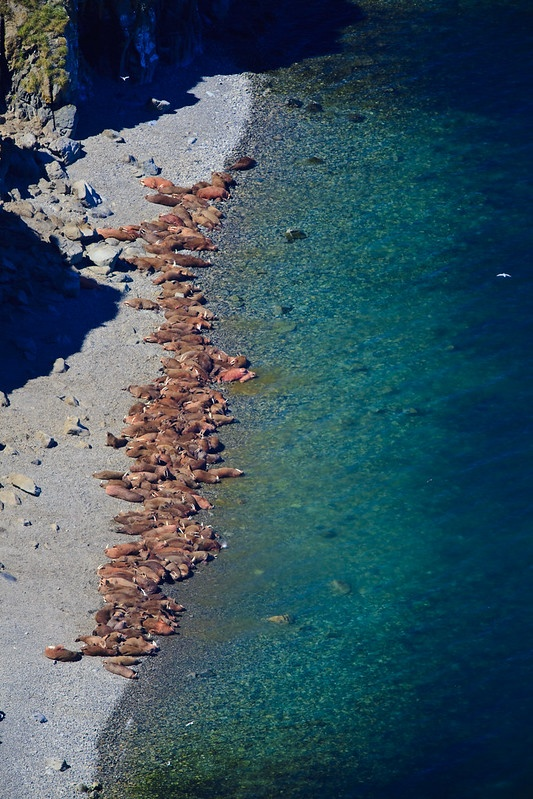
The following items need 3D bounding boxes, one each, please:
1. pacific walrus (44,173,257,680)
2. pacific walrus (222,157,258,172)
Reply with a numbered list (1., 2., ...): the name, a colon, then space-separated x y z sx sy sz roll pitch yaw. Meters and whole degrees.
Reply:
1. pacific walrus: -2.460 0.252 34.177 3.506 1.065 12.719 22 41 -14
2. pacific walrus: -0.824 -7.287 42.138 0.889 0.278 0.434 -20 35 -4
